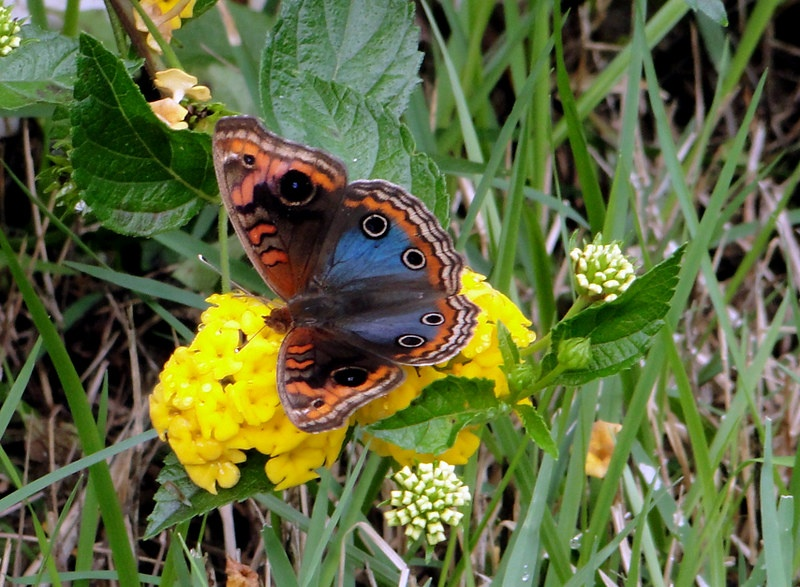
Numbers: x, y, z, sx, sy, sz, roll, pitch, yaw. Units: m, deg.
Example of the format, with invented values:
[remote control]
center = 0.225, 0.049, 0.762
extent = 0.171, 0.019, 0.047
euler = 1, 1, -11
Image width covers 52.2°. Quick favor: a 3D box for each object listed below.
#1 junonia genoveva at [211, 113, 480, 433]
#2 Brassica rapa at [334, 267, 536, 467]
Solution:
[junonia genoveva]
center = -0.118, -0.071, 1.898
extent = 0.641, 0.772, 0.614
euler = -1, -67, 5
[Brassica rapa]
center = 0.123, 0.135, 1.772
extent = 0.319, 0.500, 0.404
euler = -5, -64, -13
